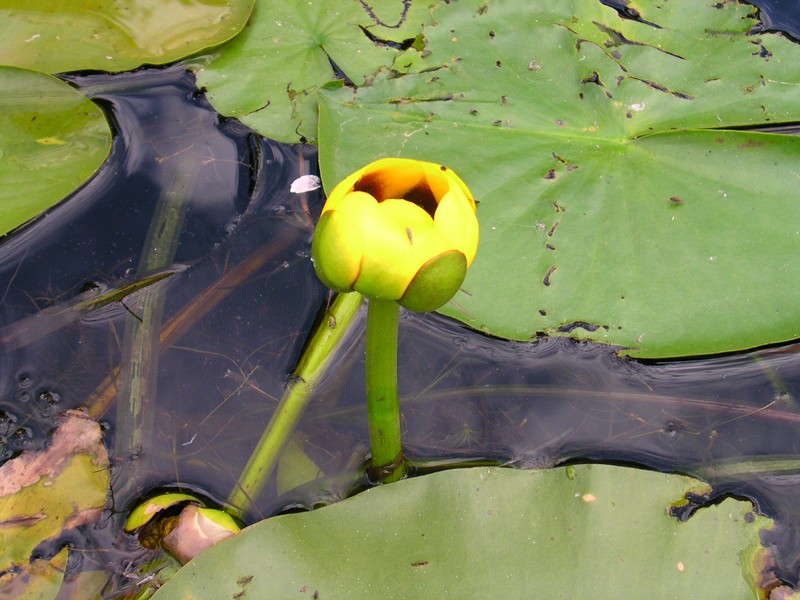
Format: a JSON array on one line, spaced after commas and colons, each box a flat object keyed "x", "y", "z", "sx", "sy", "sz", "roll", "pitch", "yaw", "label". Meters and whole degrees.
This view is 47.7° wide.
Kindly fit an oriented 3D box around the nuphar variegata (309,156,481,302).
[{"x": -0.014, "y": -0.142, "z": 1.829, "sx": 0.318, "sy": 0.286, "sz": 0.175, "roll": -4, "pitch": -49, "yaw": -8, "label": "nuphar variegata"}]
